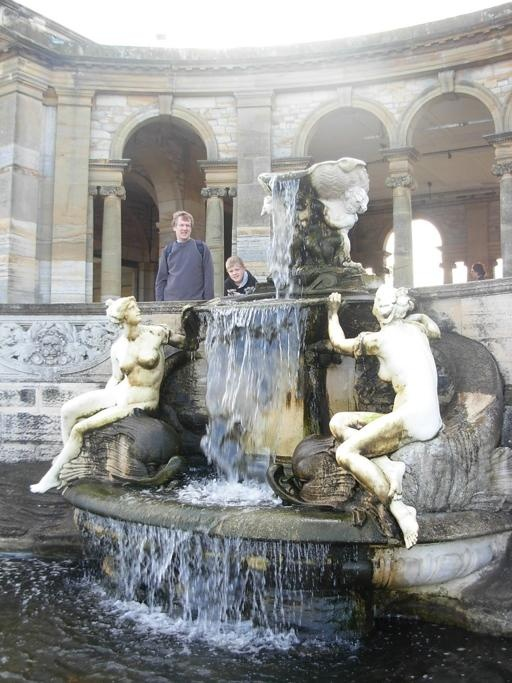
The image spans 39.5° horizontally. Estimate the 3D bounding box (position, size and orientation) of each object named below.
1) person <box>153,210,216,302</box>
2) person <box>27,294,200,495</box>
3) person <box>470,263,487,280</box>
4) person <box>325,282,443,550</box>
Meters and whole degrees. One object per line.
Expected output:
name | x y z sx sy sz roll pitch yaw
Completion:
person | -0.652 -0.760 6.466 0.461 0.768 0.672 -2 5 -16
person | -0.929 0.305 4.788 0.444 1.205 1.224 4 6 40
person | 3.910 -1.242 12.599 0.189 0.289 0.802 1 4 14
person | 0.663 0.328 3.662 0.597 1.225 0.972 0 5 7
